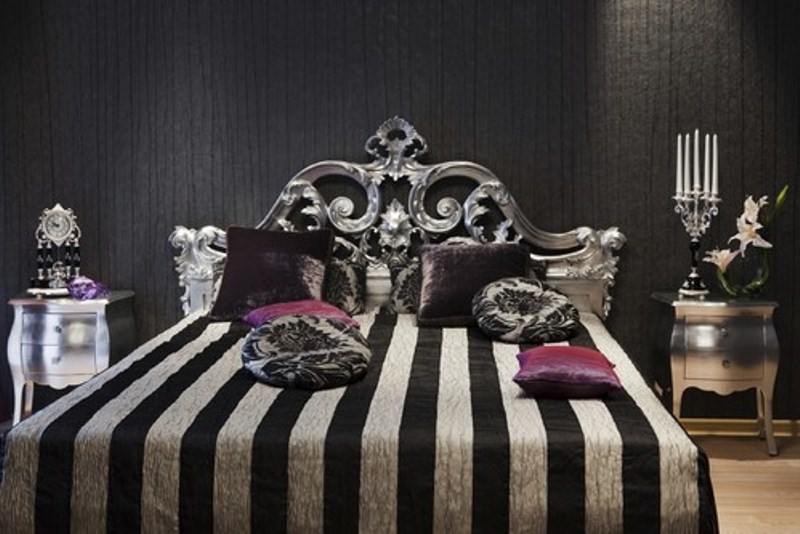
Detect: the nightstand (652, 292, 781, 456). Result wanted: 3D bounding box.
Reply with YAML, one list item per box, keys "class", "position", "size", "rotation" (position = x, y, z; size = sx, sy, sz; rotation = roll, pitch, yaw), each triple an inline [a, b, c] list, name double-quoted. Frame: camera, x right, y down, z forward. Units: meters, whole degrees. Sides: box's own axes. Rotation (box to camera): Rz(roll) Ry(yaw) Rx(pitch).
- class: "nightstand"
  position: [1.972, 0.633, 4.121]
  size: [0.661, 0.844, 0.641]
  rotation: [-1, 5, 28]

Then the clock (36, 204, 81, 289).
- class: "clock"
  position: [-2.208, -0.117, 4.303]
  size: [0.300, 0.581, 0.275]
  rotation: [-2, -5, -24]

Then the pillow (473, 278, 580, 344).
- class: "pillow"
  position: [0.671, 0.229, 3.550]
  size: [0.383, 0.139, 0.372]
  rotation: [2, 18, 1]
